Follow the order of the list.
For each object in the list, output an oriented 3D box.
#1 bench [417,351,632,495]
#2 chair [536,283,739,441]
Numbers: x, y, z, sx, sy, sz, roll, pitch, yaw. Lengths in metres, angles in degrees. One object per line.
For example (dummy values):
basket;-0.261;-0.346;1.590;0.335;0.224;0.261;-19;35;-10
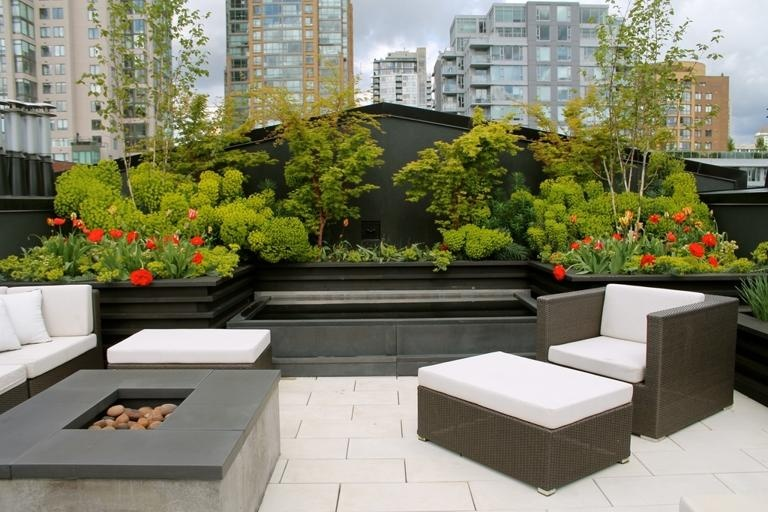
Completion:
bench;1.348;1.188;5.437;1.133;0.672;1.520;-3;4;-40
chair;2.607;0.982;6.439;1.673;1.215;1.606;-5;7;-28
